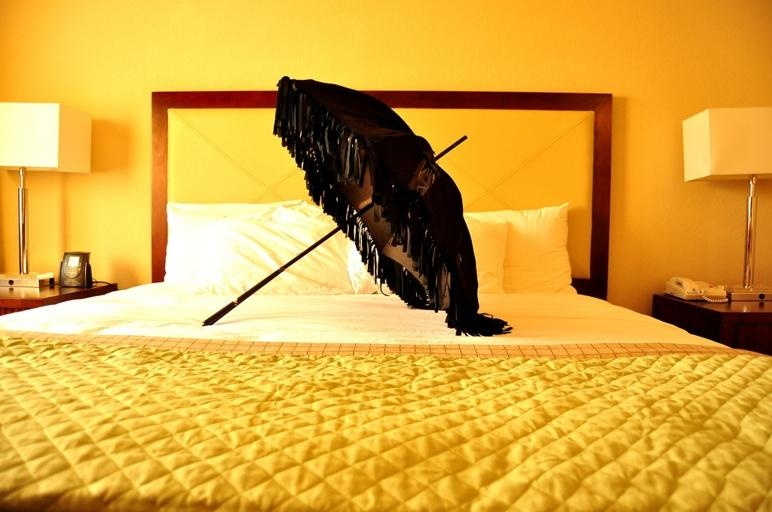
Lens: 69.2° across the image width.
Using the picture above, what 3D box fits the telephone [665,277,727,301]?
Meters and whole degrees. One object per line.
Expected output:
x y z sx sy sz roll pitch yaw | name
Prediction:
1.729 0.168 3.151 0.146 0.075 0.190 0 2 -6 | telephone
